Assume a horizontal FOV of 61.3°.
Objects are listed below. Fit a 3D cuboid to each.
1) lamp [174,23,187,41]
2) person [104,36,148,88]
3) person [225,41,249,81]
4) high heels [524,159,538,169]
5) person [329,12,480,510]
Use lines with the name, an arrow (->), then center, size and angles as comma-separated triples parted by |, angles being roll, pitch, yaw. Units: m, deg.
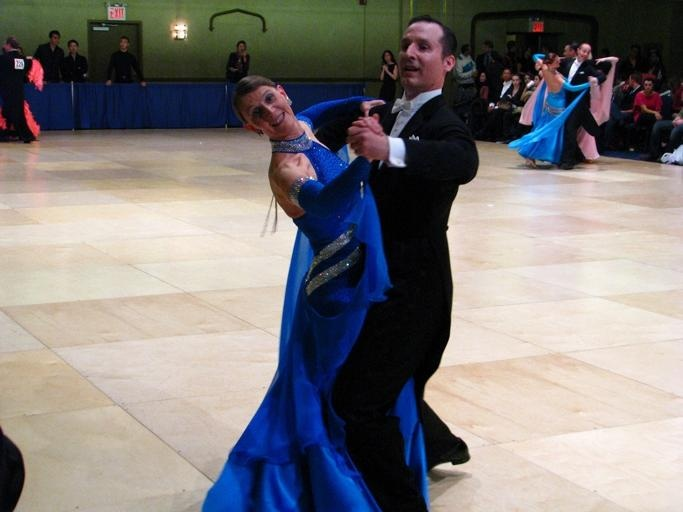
lamp -> -6.029, -8.472, 21.657 | 0.595, 0.781, 0.444 | 0, 0, -12
person -> -7.392, -6.678, 19.740 | 1.066, 1.634, 2.537 | -4, 15, -18
person -> -3.554, -6.771, 20.060 | 0.715, 1.413, 1.059 | -5, 16, -23
high heels -> 4.287, -2.093, 13.138 | 0.149, 0.214, 0.449 | -21, 21, -14
person -> 0.233, 0.099, 2.101 | 0.444, 1.897, 0.715 | 4, 15, 13
